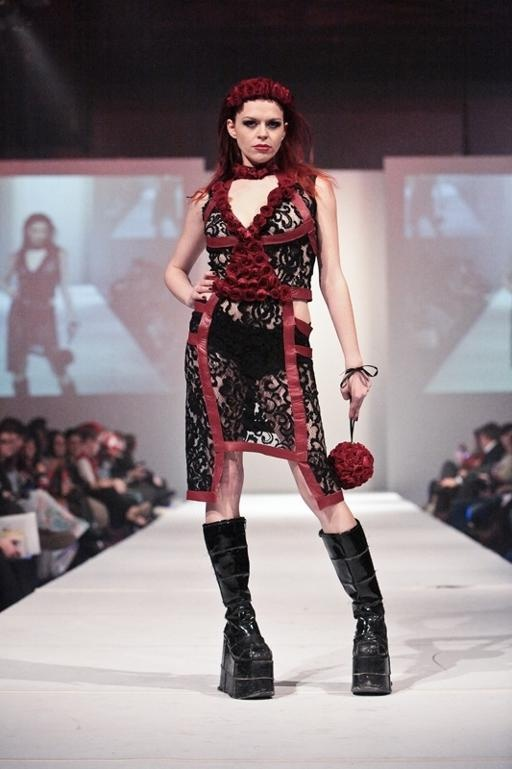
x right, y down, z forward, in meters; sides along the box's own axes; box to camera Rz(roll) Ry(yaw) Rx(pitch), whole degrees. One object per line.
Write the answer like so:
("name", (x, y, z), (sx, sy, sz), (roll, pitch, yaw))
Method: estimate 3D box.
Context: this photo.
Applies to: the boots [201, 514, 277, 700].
("boots", (-0.034, 0.415, 1.486), (0.080, 0.222, 0.146), (1, 0, -26))
